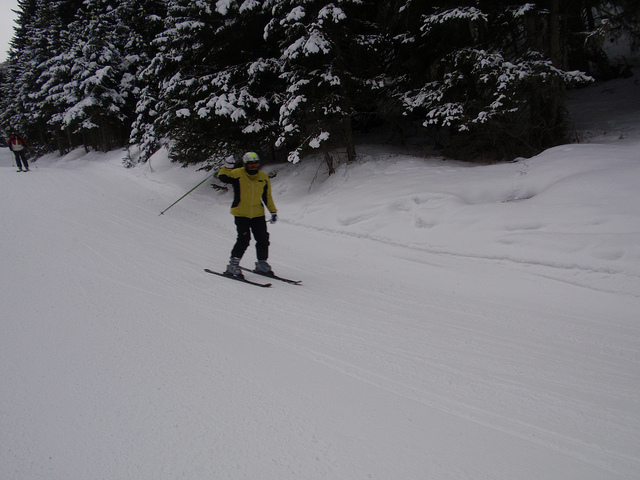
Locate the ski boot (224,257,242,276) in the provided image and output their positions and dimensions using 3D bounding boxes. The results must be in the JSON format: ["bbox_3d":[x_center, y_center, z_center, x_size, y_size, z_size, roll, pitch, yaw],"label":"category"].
[{"bbox_3d":[-1.608,0.472,8.930,0.284,0.309,0.228,-12,21,-12],"label":"ski boot"}]

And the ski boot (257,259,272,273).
[{"bbox_3d":[-1.050,0.479,9.135,0.245,0.201,0.166,2,10,5],"label":"ski boot"}]

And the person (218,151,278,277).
[{"bbox_3d":[-1.322,-0.457,8.953,1.126,2.252,0.666,-13,21,-18],"label":"person"}]
